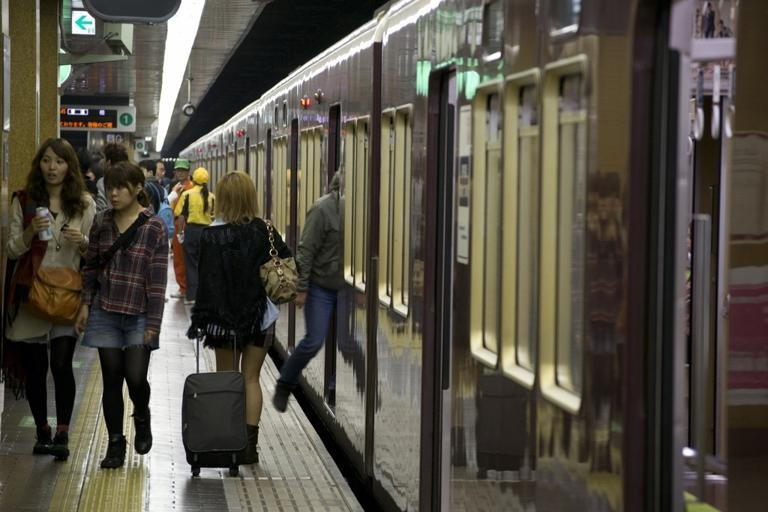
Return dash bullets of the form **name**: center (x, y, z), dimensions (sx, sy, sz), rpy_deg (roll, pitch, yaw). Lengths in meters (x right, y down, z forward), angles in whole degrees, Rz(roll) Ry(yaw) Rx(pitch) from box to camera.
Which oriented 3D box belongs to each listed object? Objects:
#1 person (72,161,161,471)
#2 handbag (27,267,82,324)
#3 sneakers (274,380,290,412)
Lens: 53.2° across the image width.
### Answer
- **person**: center (-1.962, 0.612, 5.723), dimensions (0.644, 2.098, 0.401), rpy_deg (1, 4, -10)
- **handbag**: center (-2.411, 0.282, 5.572), dimensions (0.293, 0.350, 0.180), rpy_deg (17, -8, -22)
- **sneakers**: center (-0.893, 1.195, 6.586), dimensions (0.093, 0.125, 0.302), rpy_deg (14, 19, -28)
